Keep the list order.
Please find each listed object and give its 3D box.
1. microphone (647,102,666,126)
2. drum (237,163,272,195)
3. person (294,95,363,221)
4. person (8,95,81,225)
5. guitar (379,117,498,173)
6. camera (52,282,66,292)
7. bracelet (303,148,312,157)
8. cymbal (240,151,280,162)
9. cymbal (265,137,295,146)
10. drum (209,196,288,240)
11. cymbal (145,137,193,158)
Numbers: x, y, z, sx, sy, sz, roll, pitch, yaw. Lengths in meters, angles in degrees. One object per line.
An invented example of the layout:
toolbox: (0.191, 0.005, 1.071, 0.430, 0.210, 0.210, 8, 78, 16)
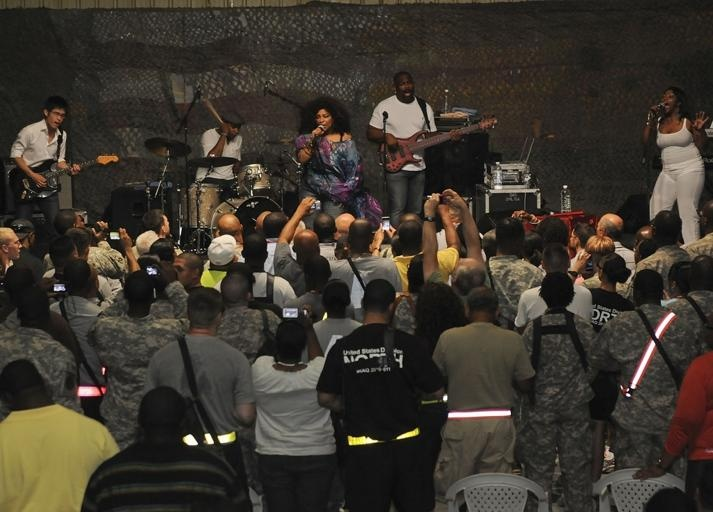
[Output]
microphone: (3.645, -1.722, 12.460, 0.195, 0.119, 0.290, 9, -12, 18)
drum: (-1.349, -0.959, 13.595, 0.449, 0.371, 0.409, -4, -15, -3)
person: (-0.359, -1.245, 13.157, 0.985, 1.735, 0.770, -4, 21, -17)
person: (-3.807, -1.154, 12.357, 0.610, 1.712, 0.770, 18, 24, 33)
guitar: (0.959, -1.402, 13.110, 1.334, 0.599, 0.466, -5, 10, -13)
camera: (-2.310, 0.256, 7.943, 0.089, 0.077, 0.111, -5, 10, -12)
bracelet: (-0.622, -1.298, 12.786, 0.114, 0.098, 0.026, -5, -30, -15)
cymbal: (-1.349, -1.353, 14.478, 0.312, 0.065, 0.291, -3, 0, -39)
cymbal: (-1.066, -1.553, 14.100, 0.388, 0.107, 0.917, -3, 10, -5)
drum: (-1.355, -0.527, 12.805, 1.047, 0.568, 0.628, -5, 14, -22)
cymbal: (-2.423, -1.383, 13.096, 0.555, 0.274, 0.460, -5, 10, -13)
